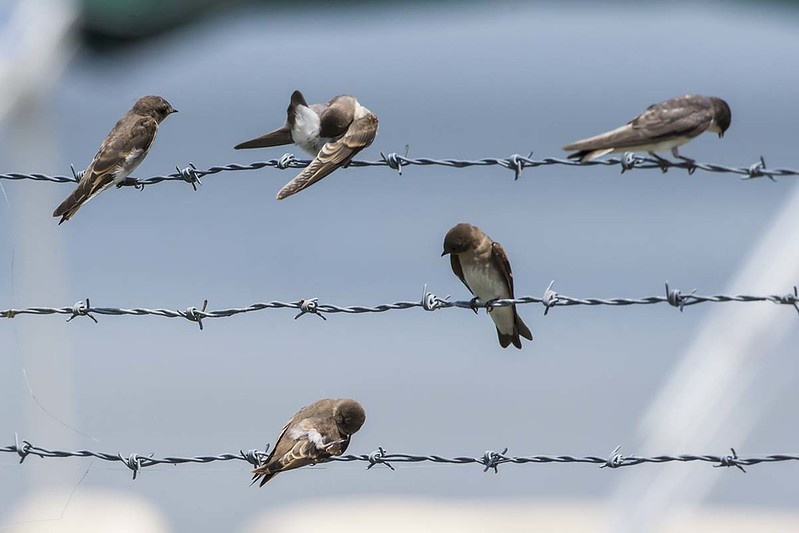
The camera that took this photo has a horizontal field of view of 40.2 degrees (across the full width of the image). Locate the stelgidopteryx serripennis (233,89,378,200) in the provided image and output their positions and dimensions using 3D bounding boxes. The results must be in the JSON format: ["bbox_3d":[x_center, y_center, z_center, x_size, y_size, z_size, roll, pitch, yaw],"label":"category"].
[{"bbox_3d":[-0.552,-1.134,9.065,1.270,0.935,0.633,-13,-48,-27],"label":"stelgidopteryx serripennis"}]

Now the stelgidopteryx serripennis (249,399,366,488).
[{"bbox_3d":[-0.723,1.367,8.718,0.936,0.460,0.570,-12,-71,-5],"label":"stelgidopteryx serripennis"}]
